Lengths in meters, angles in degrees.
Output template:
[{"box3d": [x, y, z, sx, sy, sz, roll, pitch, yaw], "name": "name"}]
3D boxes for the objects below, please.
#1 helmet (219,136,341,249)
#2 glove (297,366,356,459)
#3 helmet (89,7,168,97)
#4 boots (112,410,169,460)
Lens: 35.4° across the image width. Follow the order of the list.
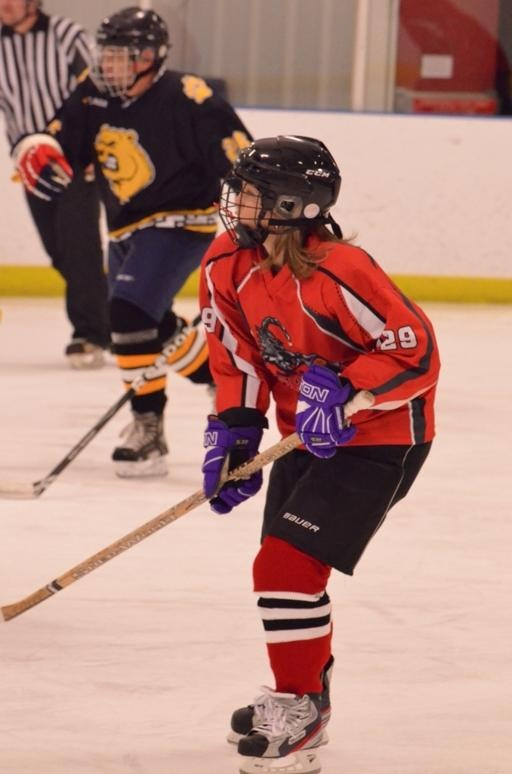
[{"box3d": [0.044, -0.304, 1.268, 0.224, 0.161, 0.143, 3, 22, -4], "name": "helmet"}, {"box3d": [0.096, 0.035, 1.164, 0.057, 0.121, 0.098, -4, 20, -40], "name": "glove"}, {"box3d": [-0.439, -1.113, 2.684, 0.277, 0.292, 0.182, -2, 22, 0], "name": "helmet"}, {"box3d": [-0.407, 0.164, 2.721, 0.218, 0.158, 0.075, -3, 9, -34], "name": "boots"}]
